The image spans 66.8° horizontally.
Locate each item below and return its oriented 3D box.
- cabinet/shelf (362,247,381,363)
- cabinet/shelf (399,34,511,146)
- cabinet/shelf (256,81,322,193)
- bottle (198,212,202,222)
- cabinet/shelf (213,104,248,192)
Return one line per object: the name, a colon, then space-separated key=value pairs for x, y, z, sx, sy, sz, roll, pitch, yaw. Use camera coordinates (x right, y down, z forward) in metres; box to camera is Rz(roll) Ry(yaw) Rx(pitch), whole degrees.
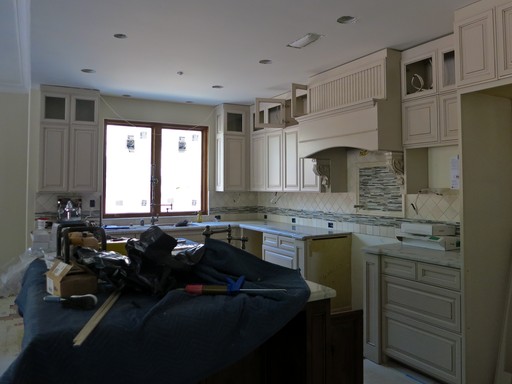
cabinet/shelf: x=1.181 y=1.189 z=3.994 sx=0.184 sy=1.107 sz=0.078 roll=0 pitch=2 yaw=41
cabinet/shelf: x=1.858 y=-0.936 z=3.584 sx=0.334 sy=1.076 sz=1.050 roll=2 pitch=-4 yaw=-20
cabinet/shelf: x=0.490 y=-0.805 z=5.461 sx=0.669 sy=1.296 sz=1.343 roll=3 pitch=-5 yaw=-21
bottle: x=-0.956 y=0.428 z=6.574 sx=0.085 sy=0.174 sz=0.244 roll=-2 pitch=2 yaw=-9
cabinet/shelf: x=-0.398 y=-0.753 z=6.577 sx=0.621 sy=1.461 sz=0.324 roll=-2 pitch=2 yaw=-5
